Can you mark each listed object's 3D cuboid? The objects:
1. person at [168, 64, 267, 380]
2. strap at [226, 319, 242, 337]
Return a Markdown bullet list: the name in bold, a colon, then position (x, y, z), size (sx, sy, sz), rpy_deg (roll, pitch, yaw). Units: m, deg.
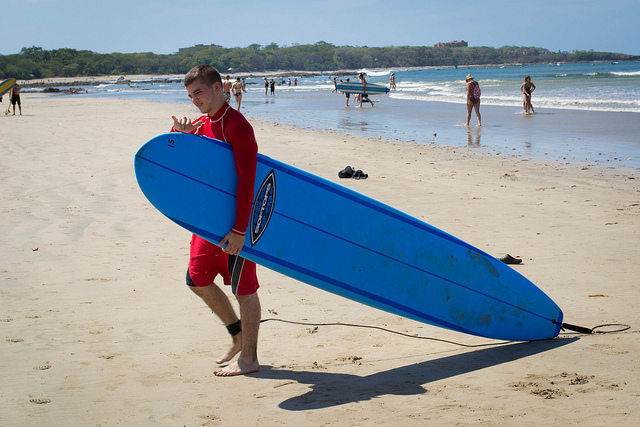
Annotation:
- **person**: position (-0.907, 0.081, 7.235), size (0.716, 2.830, 0.716), rpy_deg (-3, 14, 1)
- **strap**: position (-0.820, 1.064, 7.466), size (0.147, 0.094, 0.135), rpy_deg (-21, 1, 40)
